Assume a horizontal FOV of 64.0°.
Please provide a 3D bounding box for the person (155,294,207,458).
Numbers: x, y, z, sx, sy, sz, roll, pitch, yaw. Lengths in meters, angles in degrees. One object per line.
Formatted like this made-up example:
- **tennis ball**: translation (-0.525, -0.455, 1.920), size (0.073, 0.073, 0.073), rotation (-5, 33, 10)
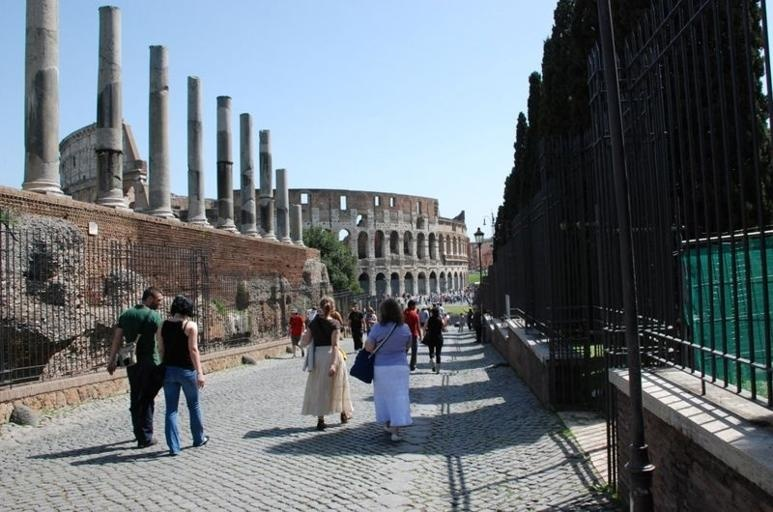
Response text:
- **person**: translation (-2.663, 1.531, 8.108), size (0.568, 1.394, 0.419), rotation (-1, 0, -20)

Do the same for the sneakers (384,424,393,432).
- **sneakers**: translation (0.024, 2.413, 8.766), size (0.107, 0.111, 0.105), rotation (2, 0, -9)

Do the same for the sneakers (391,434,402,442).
- **sneakers**: translation (0.140, 2.462, 8.452), size (0.056, 0.082, 0.199), rotation (0, -18, 15)

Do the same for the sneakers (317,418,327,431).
- **sneakers**: translation (-0.925, 2.422, 8.954), size (0.127, 0.157, 0.150), rotation (2, -11, -3)

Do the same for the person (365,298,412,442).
- **person**: translation (0.077, 1.528, 8.733), size (0.583, 1.629, 0.555), rotation (-2, -1, 40)

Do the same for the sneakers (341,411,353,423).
- **sneakers**: translation (-0.619, 2.424, 9.396), size (0.121, 0.098, 0.196), rotation (9, -18, 10)

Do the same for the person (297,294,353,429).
- **person**: translation (-0.880, 1.541, 9.095), size (0.715, 1.524, 0.574), rotation (-1, 0, -14)
